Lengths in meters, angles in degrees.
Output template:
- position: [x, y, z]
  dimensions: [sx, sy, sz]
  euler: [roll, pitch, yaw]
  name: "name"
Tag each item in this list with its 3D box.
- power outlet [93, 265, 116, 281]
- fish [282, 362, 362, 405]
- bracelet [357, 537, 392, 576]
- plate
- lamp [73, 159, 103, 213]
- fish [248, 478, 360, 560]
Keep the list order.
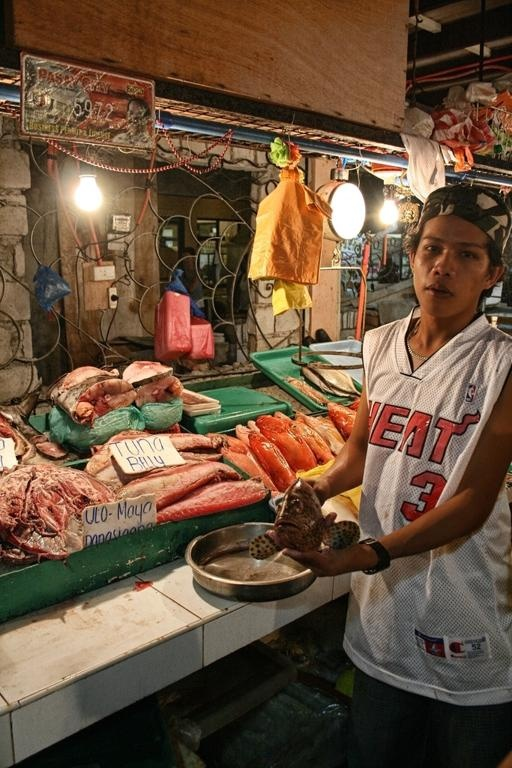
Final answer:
- position: [-1.818, -1.322, 6.783]
  dimensions: [0.228, 0.202, 0.160]
  euler: [3, 31, -17]
  name: "power outlet"
- position: [0.563, -0.029, 4.389]
  dimensions: [0.341, 0.079, 0.457]
  euler: [-7, 27, -29]
  name: "fish"
- position: [0.294, 0.433, 1.402]
  dimensions: [0.069, 0.092, 0.058]
  euler: [-10, 12, -39]
  name: "bracelet"
- position: [-0.012, 0.668, 2.138]
  dimensions: [0.478, 0.109, 0.499]
  euler: [6, 10, 25]
  name: "plate"
- position: [-1.260, -1.463, 4.249]
  dimensions: [0.160, 0.281, 0.358]
  euler: [-4, 9, -10]
  name: "lamp"
- position: [0.113, 0.355, 1.410]
  dimensions: [0.221, 0.176, 0.198]
  euler: [-8, 11, -33]
  name: "fish"
